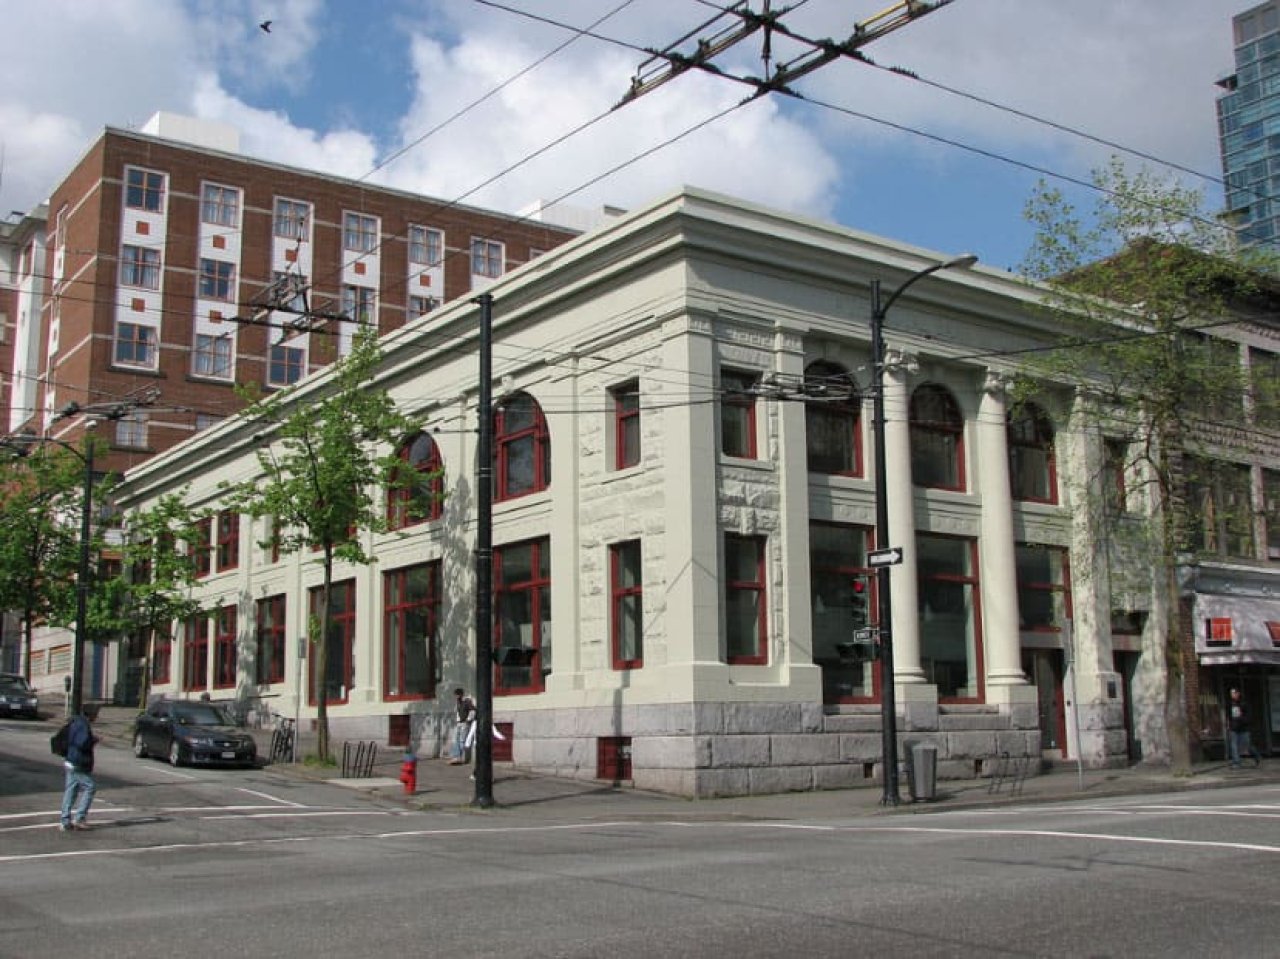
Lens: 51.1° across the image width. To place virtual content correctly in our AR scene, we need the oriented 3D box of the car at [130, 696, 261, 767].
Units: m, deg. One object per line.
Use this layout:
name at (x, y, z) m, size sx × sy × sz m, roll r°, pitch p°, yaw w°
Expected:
car at (-11.883, 6.812, 36.171) m, size 2.307 × 2.104 × 4.440 m, roll 14°, pitch -22°, yaw -42°

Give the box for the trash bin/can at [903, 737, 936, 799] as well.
trash bin/can at (6.057, 6.329, 28.955) m, size 0.630 × 1.263 × 0.770 m, roll -3°, pitch -16°, yaw 9°

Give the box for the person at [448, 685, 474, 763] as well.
person at (-4.887, 6.866, 36.865) m, size 0.715 × 2.003 × 0.860 m, roll 18°, pitch -47°, yaw -21°
